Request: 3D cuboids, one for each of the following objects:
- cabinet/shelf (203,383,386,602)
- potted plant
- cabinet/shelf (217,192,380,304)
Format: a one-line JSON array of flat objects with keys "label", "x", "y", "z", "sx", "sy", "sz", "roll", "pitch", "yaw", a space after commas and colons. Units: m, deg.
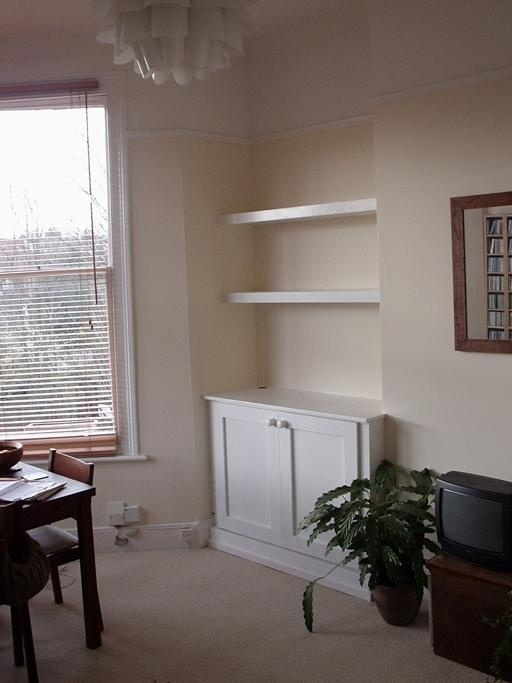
[{"label": "cabinet/shelf", "x": 0.211, "y": 0.718, "z": 2.910, "sx": 0.901, "sy": 0.834, "sz": 0.371, "roll": 4, "pitch": 9, "yaw": 34}, {"label": "potted plant", "x": 0.475, "y": 0.829, "z": 2.334, "sx": 0.664, "sy": 0.599, "sz": 0.524, "roll": -4, "pitch": 4, "yaw": -11}, {"label": "cabinet/shelf", "x": 0.263, "y": -0.449, "z": 2.959, "sx": 1.001, "sy": 0.543, "sz": 0.271, "roll": -1, "pitch": 2, "yaw": 42}]
